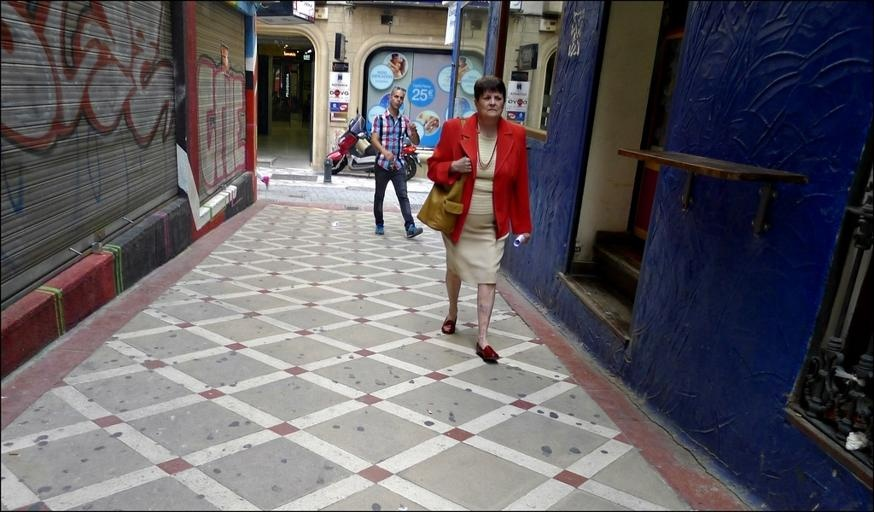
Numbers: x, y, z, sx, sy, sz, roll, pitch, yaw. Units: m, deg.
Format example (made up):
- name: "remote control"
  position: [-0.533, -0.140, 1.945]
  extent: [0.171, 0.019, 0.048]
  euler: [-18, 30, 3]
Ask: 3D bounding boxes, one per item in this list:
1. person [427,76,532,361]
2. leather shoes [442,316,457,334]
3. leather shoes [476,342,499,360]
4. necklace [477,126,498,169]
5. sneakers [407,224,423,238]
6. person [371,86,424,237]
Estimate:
- name: "person"
  position: [0.425, -0.400, 4.348]
  extent: [0.984, 2.488, 0.812]
  euler: [19, 26, 32]
- name: "leather shoes"
  position: [0.134, 0.728, 4.700]
  extent: [0.143, 0.078, 0.304]
  euler: [-1, 12, 1]
- name: "leather shoes"
  position: [0.478, 0.916, 4.287]
  extent: [0.109, 0.089, 0.232]
  euler: [2, 0, -25]
- name: "necklace"
  position: [0.467, -0.998, 4.218]
  extent: [0.194, 0.375, 0.221]
  euler: [6, 21, 4]
- name: "sneakers"
  position: [-0.411, -0.432, 7.994]
  extent: [0.143, 0.173, 0.405]
  euler: [2, -4, -26]
- name: "person"
  position: [-0.714, -1.586, 7.770]
  extent: [0.748, 2.478, 0.853]
  euler: [-4, 23, -21]
